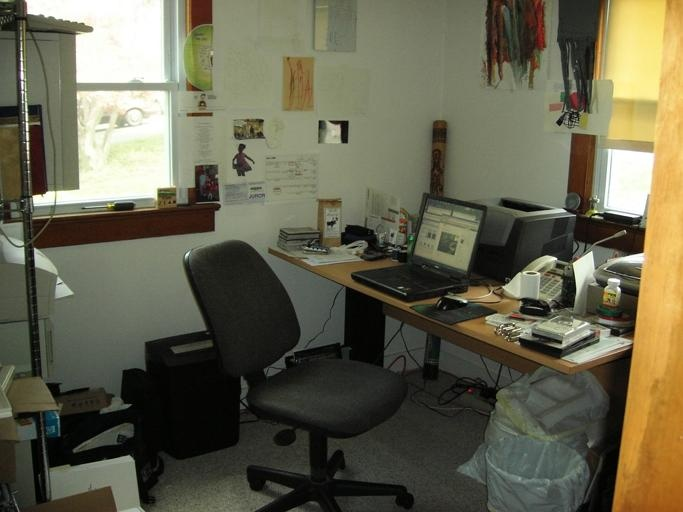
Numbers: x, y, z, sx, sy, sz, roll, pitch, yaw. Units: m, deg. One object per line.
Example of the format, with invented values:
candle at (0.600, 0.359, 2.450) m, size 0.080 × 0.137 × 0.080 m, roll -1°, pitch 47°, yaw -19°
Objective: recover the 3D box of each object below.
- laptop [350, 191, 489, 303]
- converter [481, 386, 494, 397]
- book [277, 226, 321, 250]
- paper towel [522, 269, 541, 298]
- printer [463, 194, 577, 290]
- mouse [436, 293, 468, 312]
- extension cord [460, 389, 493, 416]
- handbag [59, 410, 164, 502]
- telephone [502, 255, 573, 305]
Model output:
laptop at (0.364, -0.046, 2.700) m, size 0.558 × 0.473 × 0.535 m, roll -8°, pitch 16°, yaw -28°
converter at (0.894, 0.819, 3.367) m, size 0.056 × 0.015 × 0.054 m, roll 2°, pitch 18°, yaw 20°
book at (-0.265, -0.108, 3.217) m, size 0.190 × 0.090 × 0.135 m, roll -4°, pitch 9°, yaw -37°
paper towel at (0.809, 0.127, 2.381) m, size 0.069 × 0.117 × 0.118 m, roll 1°, pitch 9°, yaw 17°
printer at (0.920, -0.131, 2.865) m, size 0.468 × 0.341 × 0.437 m, roll -16°, pitch 19°, yaw -34°
mouse at (0.488, 0.200, 2.429) m, size 0.110 × 0.044 × 0.180 m, roll 8°, pitch 15°, yaw 26°
extension cord at (0.805, 0.875, 3.330) m, size 0.175 × 0.039 × 0.281 m, roll -1°, pitch 14°, yaw -9°
handbag at (-1.056, 0.896, 2.548) m, size 0.429 × 0.391 × 0.337 m, roll -4°, pitch 15°, yaw -19°
telephone at (0.897, 0.101, 2.500) m, size 0.255 × 0.092 × 0.177 m, roll -23°, pitch 21°, yaw -25°
